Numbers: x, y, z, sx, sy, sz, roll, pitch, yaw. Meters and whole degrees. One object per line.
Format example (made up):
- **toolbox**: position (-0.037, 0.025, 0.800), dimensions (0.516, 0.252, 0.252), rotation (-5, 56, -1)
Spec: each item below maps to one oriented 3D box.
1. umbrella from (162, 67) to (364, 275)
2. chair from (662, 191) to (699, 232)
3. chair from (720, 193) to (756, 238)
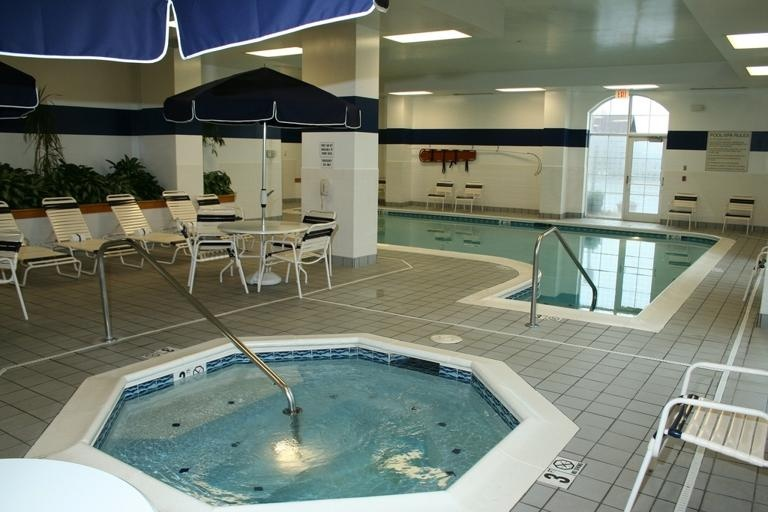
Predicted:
- **umbrella**: position (-1.911, -1.656, 7.742), dimensions (2.951, 2.269, 2.904), rotation (12, 16, 35)
- **chair**: position (8.739, -1.302, 14.180), dimensions (1.013, 1.274, 1.045), rotation (7, 23, 35)
- **chair**: position (9.875, -1.140, 13.482), dimensions (0.738, 0.775, 0.711), rotation (4, 20, 29)
